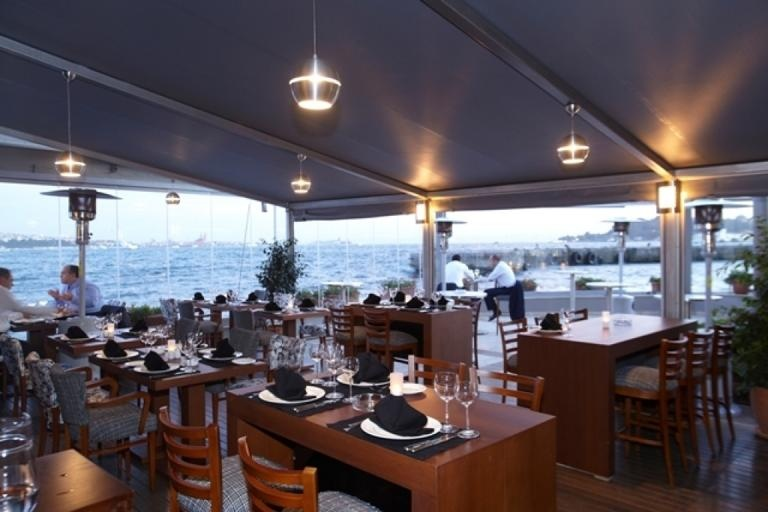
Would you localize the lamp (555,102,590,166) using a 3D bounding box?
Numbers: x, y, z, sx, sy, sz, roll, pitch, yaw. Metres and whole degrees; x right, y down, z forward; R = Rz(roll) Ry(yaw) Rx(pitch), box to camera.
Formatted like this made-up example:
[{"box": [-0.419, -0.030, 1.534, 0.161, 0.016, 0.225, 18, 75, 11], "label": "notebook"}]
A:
[{"box": [2.166, -1.367, 6.277, 0.290, 0.641, 1.165, 2, 7, 19], "label": "lamp"}]

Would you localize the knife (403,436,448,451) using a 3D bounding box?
[{"box": [0.286, 1.229, 3.604, 0.398, 0.034, 0.092, 0, 3, -41], "label": "knife"}]

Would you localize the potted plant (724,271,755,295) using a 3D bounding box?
[{"box": [5.872, 0.443, 9.072, 0.397, 0.397, 0.401, -3, -6, 25], "label": "potted plant"}]

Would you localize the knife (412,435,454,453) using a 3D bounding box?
[{"box": [0.346, 1.218, 3.647, 0.398, 0.040, 0.094, -4, 8, -40], "label": "knife"}]

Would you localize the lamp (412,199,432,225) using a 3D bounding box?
[{"box": [0.737, -0.801, 9.913, 0.367, 0.508, 0.371, -1, 3, 25], "label": "lamp"}]

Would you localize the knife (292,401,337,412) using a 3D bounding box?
[{"box": [-0.525, 1.124, 4.114, 0.042, 0.027, 0.290, 10, 4, 40], "label": "knife"}]

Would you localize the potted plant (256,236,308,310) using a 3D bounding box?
[{"box": [-2.316, 0.367, 11.918, 1.360, 1.777, 1.156, 2, -4, -32], "label": "potted plant"}]

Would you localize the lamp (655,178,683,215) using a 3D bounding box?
[{"box": [3.776, -0.774, 7.290, 0.319, 0.455, 0.199, 3, 8, 27], "label": "lamp"}]
